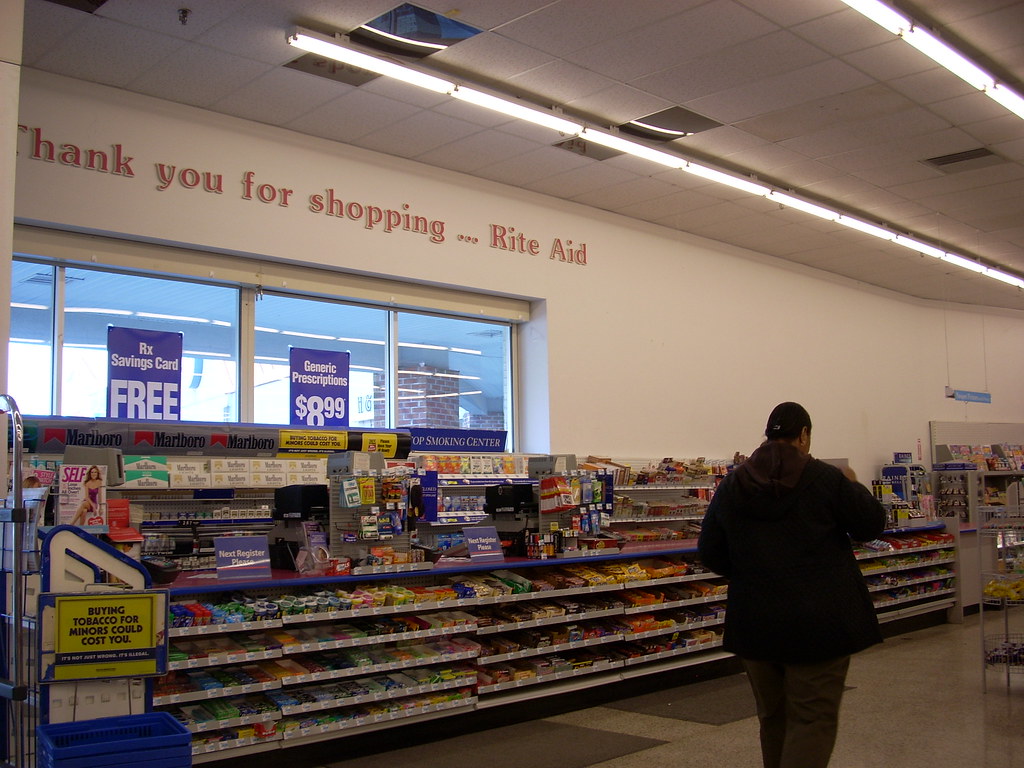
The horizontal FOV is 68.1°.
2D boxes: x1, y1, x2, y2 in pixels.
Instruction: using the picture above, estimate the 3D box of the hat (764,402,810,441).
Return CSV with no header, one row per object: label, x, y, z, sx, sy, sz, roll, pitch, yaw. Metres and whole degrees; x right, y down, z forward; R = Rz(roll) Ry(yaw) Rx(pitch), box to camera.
hat,1.402,0.174,3.851,0.182,0.130,0.248,2,10,37
